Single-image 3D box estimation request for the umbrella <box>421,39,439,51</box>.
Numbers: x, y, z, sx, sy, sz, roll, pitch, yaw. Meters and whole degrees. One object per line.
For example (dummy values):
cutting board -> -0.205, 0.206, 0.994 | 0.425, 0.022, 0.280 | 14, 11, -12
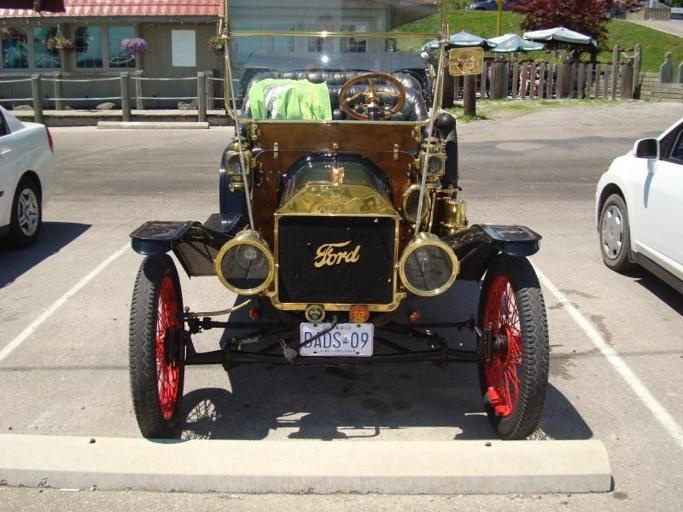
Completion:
umbrella -> 0.788, -1.847, 6.124 | 0.142, 0.077, 0.244 | -3, 2, 0
